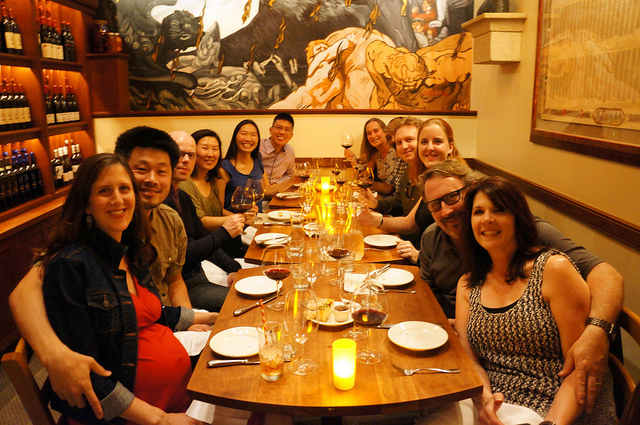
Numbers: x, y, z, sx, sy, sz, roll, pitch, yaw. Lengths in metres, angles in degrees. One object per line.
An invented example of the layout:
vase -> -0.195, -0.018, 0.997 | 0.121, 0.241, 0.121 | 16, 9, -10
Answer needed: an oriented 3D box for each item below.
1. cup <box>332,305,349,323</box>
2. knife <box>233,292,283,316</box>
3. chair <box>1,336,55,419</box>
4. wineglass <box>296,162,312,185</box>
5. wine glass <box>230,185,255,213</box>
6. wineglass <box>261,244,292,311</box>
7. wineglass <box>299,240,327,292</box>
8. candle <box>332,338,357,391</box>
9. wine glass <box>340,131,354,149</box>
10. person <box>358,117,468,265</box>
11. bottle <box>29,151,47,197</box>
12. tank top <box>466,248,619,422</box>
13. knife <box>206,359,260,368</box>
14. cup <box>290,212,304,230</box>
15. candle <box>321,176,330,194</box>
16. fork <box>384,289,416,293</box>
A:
cup -> 0.109, 0.522, 2.245 | 0.071, 0.055, 0.072 | -1, 15, 0
knife -> -0.333, 0.500, 2.368 | 0.040, 0.031, 0.364 | 13, 17, 29
chair -> -1.302, 0.749, 1.982 | 0.120, 0.376, 0.209 | -8, 20, -12
wineglass -> -0.154, -0.406, 4.486 | 0.164, 0.257, 0.169 | -2, 19, -1
wine glass -> -0.614, -0.104, 3.625 | 0.192, 0.299, 0.196 | 0, 4, -4
wineglass -> -0.241, 0.360, 2.477 | 0.150, 0.337, 0.152 | 1, 13, -1
wineglass -> -0.052, 0.390, 2.788 | 0.172, 0.398, 0.161 | -6, 13, -15
candle -> 0.104, 0.657, 1.872 | 0.102, 0.189, 0.101 | -3, 20, 2
wine glass -> 0.347, -0.907, 5.480 | 0.126, 0.187, 0.214 | 2, 21, 16
person -> 0.788, -0.203, 3.712 | 0.881, 1.164, 0.830 | 4, 13, 23
bottle -> -3.019, -0.410, 4.605 | 0.118, 0.471, 0.115 | 3, 15, -1
tank top -> 1.113, 0.633, 2.153 | 0.375, 0.699, 0.495 | 17, -34, -30
knife -> -0.395, 0.690, 1.987 | 0.229, 0.025, 0.028 | 4, 30, -8
cup -> -0.174, 0.078, 3.347 | 0.118, 0.140, 0.122 | 1, 20, 0
candle -> 0.057, -0.268, 4.377 | 0.070, 0.186, 0.141 | -5, 20, -3
fork -> 0.467, 0.450, 2.523 | 0.171, 0.018, 0.042 | -1, 20, 9
